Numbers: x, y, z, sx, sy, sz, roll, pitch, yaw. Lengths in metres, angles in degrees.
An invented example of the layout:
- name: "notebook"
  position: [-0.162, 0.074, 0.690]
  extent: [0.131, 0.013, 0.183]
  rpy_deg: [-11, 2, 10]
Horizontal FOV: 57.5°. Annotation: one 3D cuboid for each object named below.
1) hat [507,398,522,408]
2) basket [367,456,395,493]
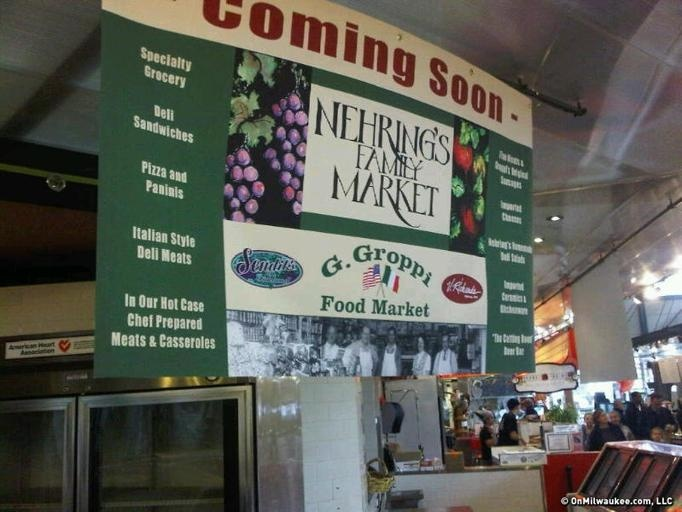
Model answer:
- name: "hat"
  position: [2.022, 1.726, 7.284]
  extent: [0.104, 0.125, 0.131]
  rpy_deg: [-7, 18, 44]
- name: "basket"
  position: [0.295, 1.729, 4.842]
  extent: [0.293, 0.178, 0.431]
  rpy_deg: [2, -19, 6]
